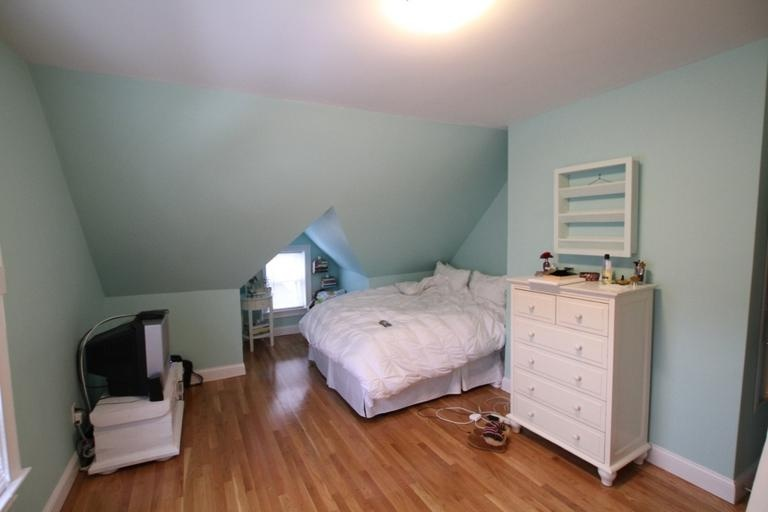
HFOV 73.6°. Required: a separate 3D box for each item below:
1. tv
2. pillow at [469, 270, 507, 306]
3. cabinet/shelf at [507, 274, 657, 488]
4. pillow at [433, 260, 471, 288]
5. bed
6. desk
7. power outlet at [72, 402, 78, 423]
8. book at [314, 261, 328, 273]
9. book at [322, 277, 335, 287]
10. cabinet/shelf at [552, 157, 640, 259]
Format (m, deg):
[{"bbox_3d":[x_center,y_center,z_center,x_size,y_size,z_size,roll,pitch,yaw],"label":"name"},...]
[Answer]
[{"bbox_3d":[-2.243,0.818,4.626,0.628,0.773,0.783,0,1,-19],"label":"tv"},{"bbox_3d":[1.225,0.399,6.087,0.645,0.401,0.212,8,0,37],"label":"pillow"},{"bbox_3d":[1.364,1.007,4.364,0.948,1.318,0.605,14,-32,2],"label":"cabinet/shelf"},{"bbox_3d":[0.884,0.249,6.564,0.326,0.102,0.327,19,10,-3],"label":"pillow"},{"bbox_3d":[0.367,0.920,5.254,1.610,0.834,1.628,-1,6,-28],"label":"bed"},{"bbox_3d":[-2.148,1.426,4.505,0.685,0.652,0.654,-2,5,-16],"label":"desk"},{"bbox_3d":[-2.524,1.286,4.191,0.048,0.144,0.100,-4,6,-32],"label":"power outlet"},{"bbox_3d":[-0.927,0.150,7.481,0.163,0.160,0.054,0,6,-26],"label":"book"},{"bbox_3d":[-0.799,0.387,7.512,0.176,0.120,0.127,1,-10,-40],"label":"book"},{"bbox_3d":[1.780,-0.402,4.236,0.242,1.064,0.855,1,-1,-32],"label":"cabinet/shelf"}]
